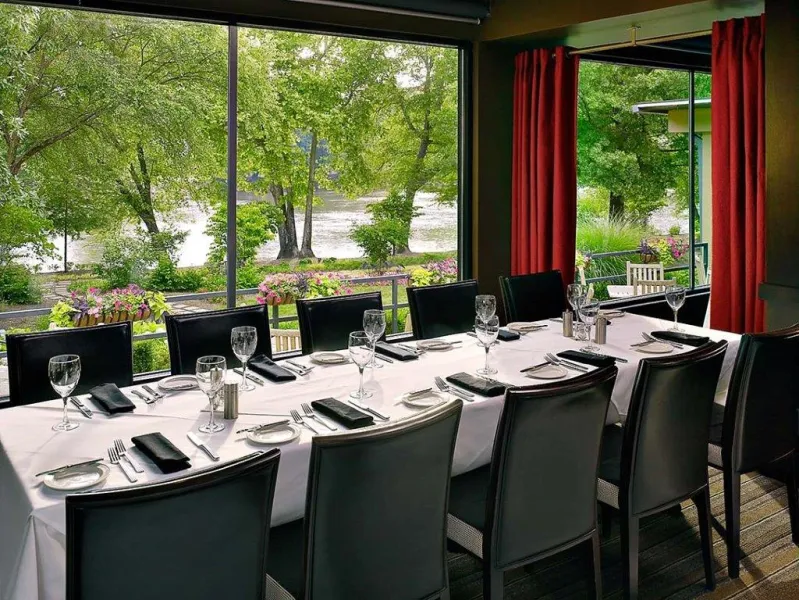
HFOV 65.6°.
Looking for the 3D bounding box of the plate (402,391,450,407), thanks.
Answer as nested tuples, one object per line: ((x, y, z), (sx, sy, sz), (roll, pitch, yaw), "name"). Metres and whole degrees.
((0.094, 0.373, 2.335), (0.102, 0.019, 0.074), (-6, 16, -33), "plate")

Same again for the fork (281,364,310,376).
((-0.464, 0.298, 2.716), (0.049, 0.022, 0.161), (-9, 10, -35), "fork")

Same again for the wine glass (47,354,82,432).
((-1.200, 0.309, 2.214), (0.112, 0.254, 0.371), (-10, 8, -29), "wine glass")

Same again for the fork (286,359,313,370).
((-0.451, 0.288, 2.758), (0.041, 0.035, 0.225), (-5, 4, -33), "fork")

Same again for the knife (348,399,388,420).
((-0.129, 0.392, 2.276), (0.045, 0.014, 0.329), (-12, 9, -26), "knife")

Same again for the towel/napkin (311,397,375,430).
((-0.208, 0.398, 2.209), (0.097, 0.039, 0.179), (-7, 16, -41), "towel/napkin")

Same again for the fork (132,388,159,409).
((-0.993, 0.370, 2.394), (0.051, 0.039, 0.216), (-10, 24, -28), "fork")

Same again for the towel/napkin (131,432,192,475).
((-0.744, 0.467, 1.932), (0.098, 0.043, 0.177), (-6, 23, -39), "towel/napkin")

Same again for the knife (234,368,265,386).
((-0.632, 0.326, 2.604), (0.051, 0.020, 0.380), (2, 5, -28), "knife")

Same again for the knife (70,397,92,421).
((-1.184, 0.387, 2.307), (0.055, 0.019, 0.233), (-12, 24, -33), "knife")

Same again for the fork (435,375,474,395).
((0.205, 0.350, 2.473), (0.043, 0.039, 0.255), (-12, 18, -24), "fork")

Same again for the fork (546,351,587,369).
((0.711, 0.272, 2.820), (0.048, 0.056, 0.367), (-23, 4, -17), "fork")

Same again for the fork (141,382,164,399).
((-0.977, 0.358, 2.440), (0.043, 0.025, 0.165), (-6, 13, -28), "fork")

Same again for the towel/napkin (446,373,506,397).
((0.298, 0.334, 2.477), (0.094, 0.029, 0.154), (-8, 13, -36), "towel/napkin")

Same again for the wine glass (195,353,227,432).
((-0.671, 0.315, 2.199), (0.114, 0.251, 0.243), (-9, 7, -16), "wine glass")

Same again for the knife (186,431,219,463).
((-0.643, 0.467, 1.988), (0.050, 0.030, 0.322), (-8, 14, -30), "knife")

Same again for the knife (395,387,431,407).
((0.050, 0.363, 2.371), (0.080, 0.017, 0.064), (-11, 21, -25), "knife")
